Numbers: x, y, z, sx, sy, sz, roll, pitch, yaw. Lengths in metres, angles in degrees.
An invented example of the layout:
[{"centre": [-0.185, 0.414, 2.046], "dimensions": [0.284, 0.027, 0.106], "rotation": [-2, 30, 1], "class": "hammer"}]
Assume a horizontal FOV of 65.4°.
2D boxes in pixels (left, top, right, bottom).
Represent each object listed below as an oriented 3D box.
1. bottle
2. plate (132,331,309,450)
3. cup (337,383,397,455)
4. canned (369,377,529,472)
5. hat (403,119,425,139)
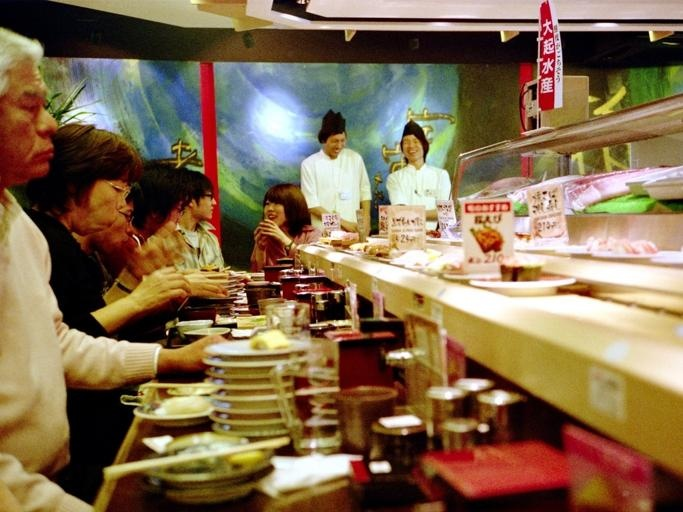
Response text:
[{"centre": [0.241, 0.349, 1.207], "dimensions": [0.278, 0.181, 0.163], "rotation": [-2, 2, -13], "class": "bottle"}, {"centre": [-0.263, 0.286, 1.250], "dimensions": [0.256, 0.173, 0.256], "rotation": [1, 3, 29], "class": "plate"}, {"centre": [0.052, 0.386, 1.283], "dimensions": [0.126, 0.107, 0.126], "rotation": [0, 5, 0], "class": "cup"}, {"centre": [0.237, 0.354, 1.207], "dimensions": [0.289, 0.111, 0.162], "rotation": [-7, 7, -23], "class": "canned"}, {"centre": [0.987, -1.735, 7.294], "dimensions": [0.238, 0.228, 0.327], "rotation": [1, 6, 12], "class": "hat"}]
